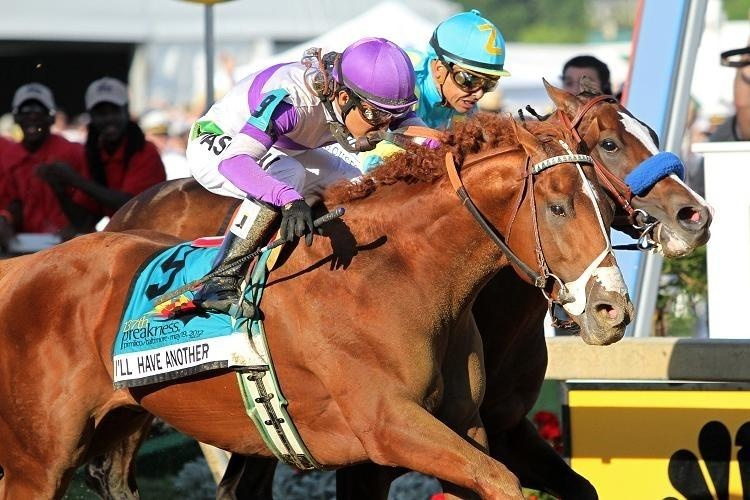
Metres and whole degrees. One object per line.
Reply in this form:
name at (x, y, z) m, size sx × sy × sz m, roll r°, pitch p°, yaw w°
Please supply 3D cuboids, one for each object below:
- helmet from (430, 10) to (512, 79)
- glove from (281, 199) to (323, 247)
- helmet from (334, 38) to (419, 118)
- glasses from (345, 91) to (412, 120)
helmet at (0.580, -1.261, 8.036) m, size 0.409 × 0.315 × 0.544 m, roll -15°, pitch 33°, yaw -40°
glove at (-0.416, -0.155, 7.037) m, size 0.230 × 0.086 × 0.310 m, roll -24°, pitch 42°, yaw 11°
helmet at (-0.008, -0.975, 7.282) m, size 0.384 × 0.279 × 0.532 m, roll -25°, pitch 46°, yaw -38°
glasses at (0.021, -0.772, 7.193) m, size 0.235 × 0.070 × 0.181 m, roll 23°, pitch 8°, yaw 34°
